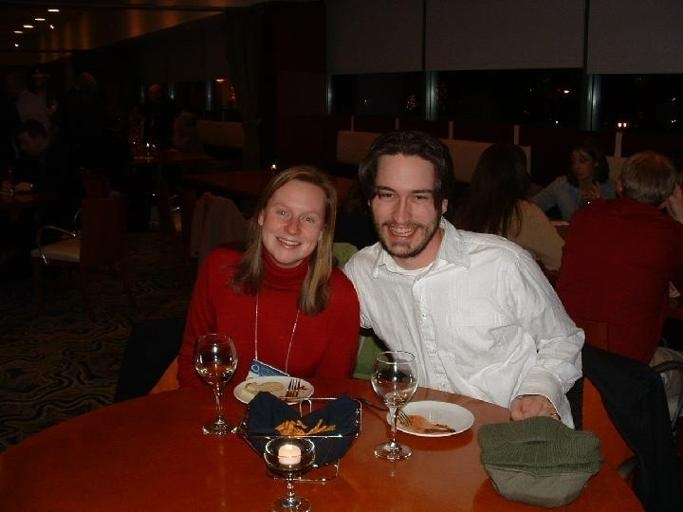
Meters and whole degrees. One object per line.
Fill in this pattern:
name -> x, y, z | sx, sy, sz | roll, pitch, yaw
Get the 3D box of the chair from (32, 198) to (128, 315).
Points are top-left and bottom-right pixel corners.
chair -> -2.407, -0.014, 4.785 | 0.567, 1.051, 0.664 | 11, 18, 7

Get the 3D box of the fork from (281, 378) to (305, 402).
fork -> -0.149, 0.414, 1.604 | 0.030, 0.016, 0.103 | -1, 9, 4
